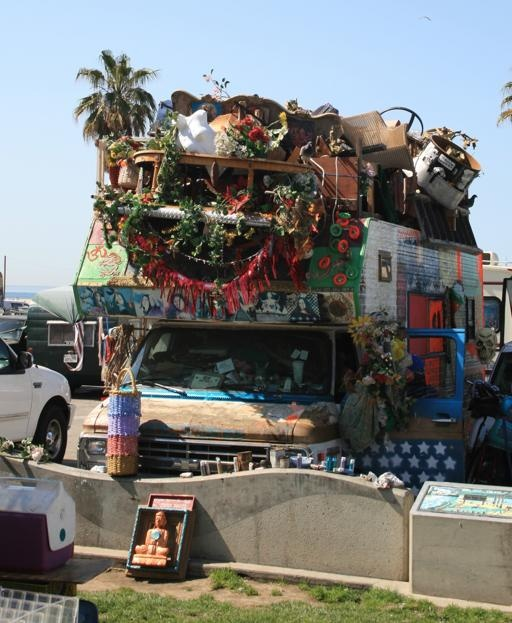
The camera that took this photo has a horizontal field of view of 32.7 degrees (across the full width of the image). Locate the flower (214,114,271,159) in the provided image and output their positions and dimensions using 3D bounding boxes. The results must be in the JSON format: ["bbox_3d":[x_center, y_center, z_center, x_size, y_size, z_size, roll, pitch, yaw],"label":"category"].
[{"bbox_3d":[-0.107,-1.444,7.345,0.383,0.266,0.385,-1,3,3],"label":"flower"}]

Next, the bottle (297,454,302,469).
[{"bbox_3d":[0.335,1.156,6.714,0.047,0.097,0.114,1,0,3],"label":"bottle"}]

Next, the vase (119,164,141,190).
[{"bbox_3d":[-1.150,-1.222,7.923,0.155,0.243,0.248,4,3,9],"label":"vase"}]

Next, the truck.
[{"bbox_3d":[0.404,0.278,8.140,4.015,2.311,2.608,1,0,-14],"label":"truck"}]

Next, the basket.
[{"bbox_3d":[-1.057,0.896,6.968,0.245,0.835,0.248,1,0,-11],"label":"basket"}]

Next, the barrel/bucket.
[{"bbox_3d":[2.317,-1.693,10.530,0.766,0.564,0.867,24,29,2],"label":"barrel/bucket"}]

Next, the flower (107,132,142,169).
[{"bbox_3d":[-1.224,-1.521,8.138,0.333,0.303,0.622,1,0,-10],"label":"flower"}]

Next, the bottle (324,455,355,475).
[{"bbox_3d":[0.642,1.187,6.770,0.139,0.124,0.209,1,-8,-2],"label":"bottle"}]
